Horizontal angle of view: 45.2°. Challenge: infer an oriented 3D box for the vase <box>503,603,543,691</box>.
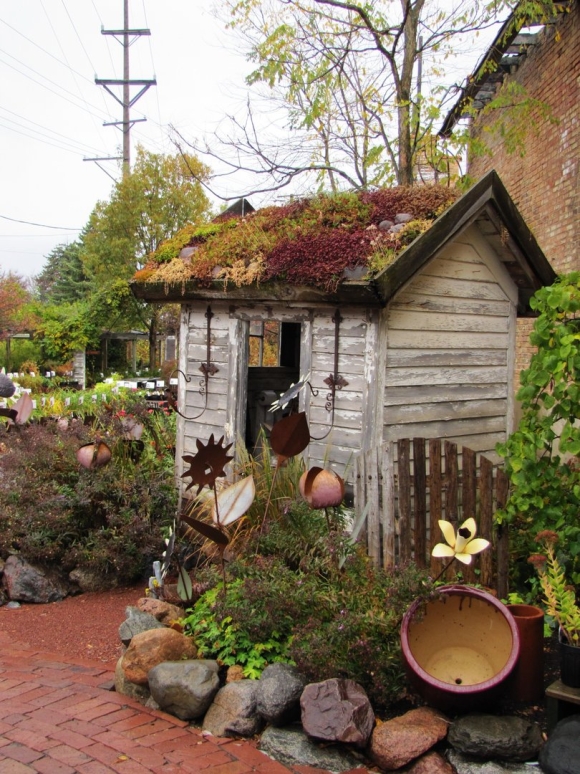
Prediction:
[{"bbox_3d":[1.120,1.269,3.324,0.169,0.402,0.257,1,-4,18],"label":"vase"}]
